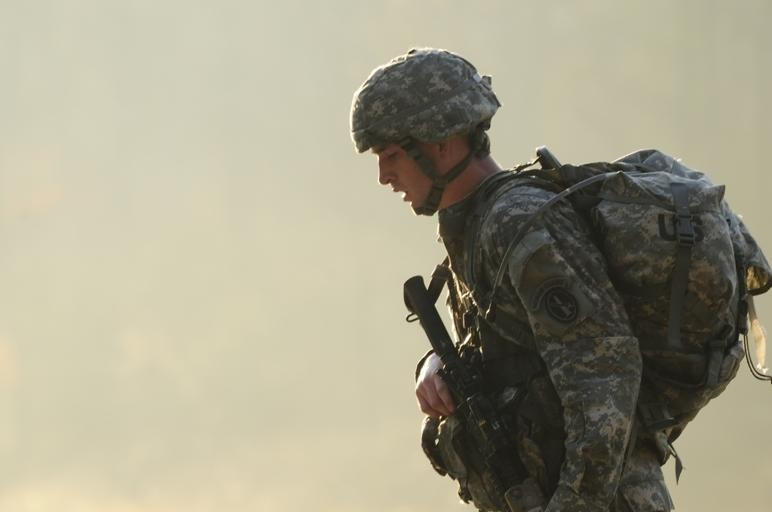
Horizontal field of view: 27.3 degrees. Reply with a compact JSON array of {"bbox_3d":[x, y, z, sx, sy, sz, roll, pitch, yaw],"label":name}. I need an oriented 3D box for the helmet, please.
[{"bbox_3d":[0.158,-0.710,7.239,0.622,0.417,0.360,-9,-87,-3],"label":"helmet"}]
